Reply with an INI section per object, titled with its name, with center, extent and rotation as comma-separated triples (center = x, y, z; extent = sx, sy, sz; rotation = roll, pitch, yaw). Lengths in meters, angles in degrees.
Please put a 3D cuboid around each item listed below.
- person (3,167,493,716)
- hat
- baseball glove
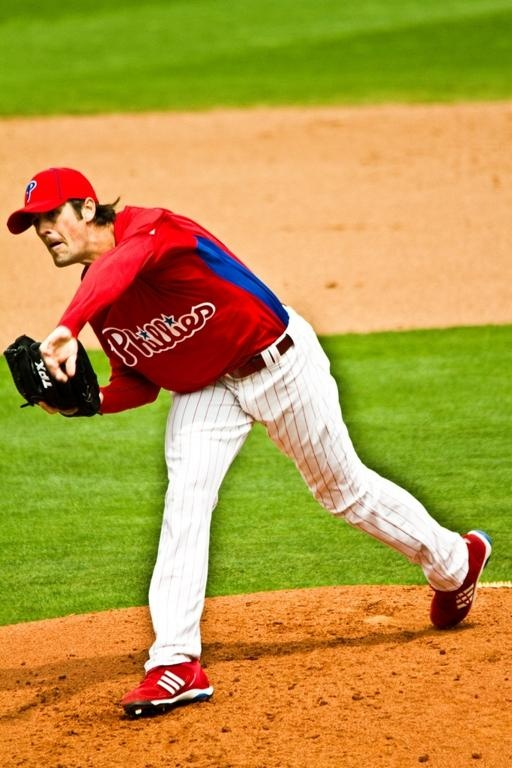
[person]
center = -0.139, 0.096, 2.905
extent = 1.186, 1.498, 0.607
rotation = -11, 8, -34
[hat]
center = -0.590, -0.531, 2.821
extent = 0.241, 0.177, 0.219
rotation = -8, 6, -23
[baseball glove]
center = -0.549, 0.005, 2.706
extent = 0.208, 0.260, 0.104
rotation = -11, 45, 12
